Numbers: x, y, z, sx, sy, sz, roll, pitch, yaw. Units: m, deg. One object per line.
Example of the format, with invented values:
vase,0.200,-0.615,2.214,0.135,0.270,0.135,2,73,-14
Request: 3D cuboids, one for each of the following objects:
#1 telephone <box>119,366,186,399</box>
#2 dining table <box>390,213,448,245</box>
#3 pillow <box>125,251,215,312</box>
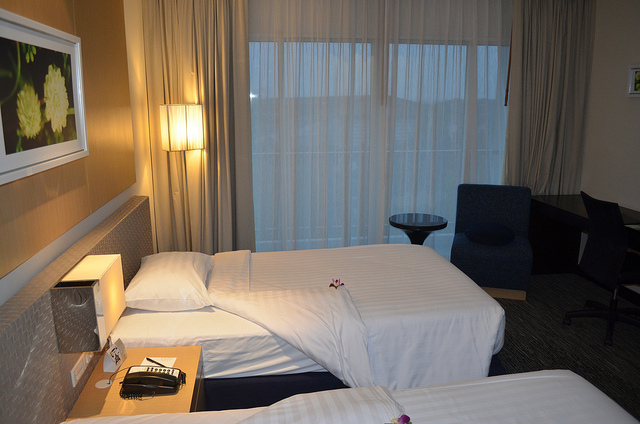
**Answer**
telephone,-1.135,1.135,2.919,0.248,0.077,0.241,2,9,-2
dining table,1.252,0.144,5.504,0.461,0.569,0.470,-1,12,-6
pillow,-1.320,0.605,3.963,0.686,0.321,1.093,2,12,-14
